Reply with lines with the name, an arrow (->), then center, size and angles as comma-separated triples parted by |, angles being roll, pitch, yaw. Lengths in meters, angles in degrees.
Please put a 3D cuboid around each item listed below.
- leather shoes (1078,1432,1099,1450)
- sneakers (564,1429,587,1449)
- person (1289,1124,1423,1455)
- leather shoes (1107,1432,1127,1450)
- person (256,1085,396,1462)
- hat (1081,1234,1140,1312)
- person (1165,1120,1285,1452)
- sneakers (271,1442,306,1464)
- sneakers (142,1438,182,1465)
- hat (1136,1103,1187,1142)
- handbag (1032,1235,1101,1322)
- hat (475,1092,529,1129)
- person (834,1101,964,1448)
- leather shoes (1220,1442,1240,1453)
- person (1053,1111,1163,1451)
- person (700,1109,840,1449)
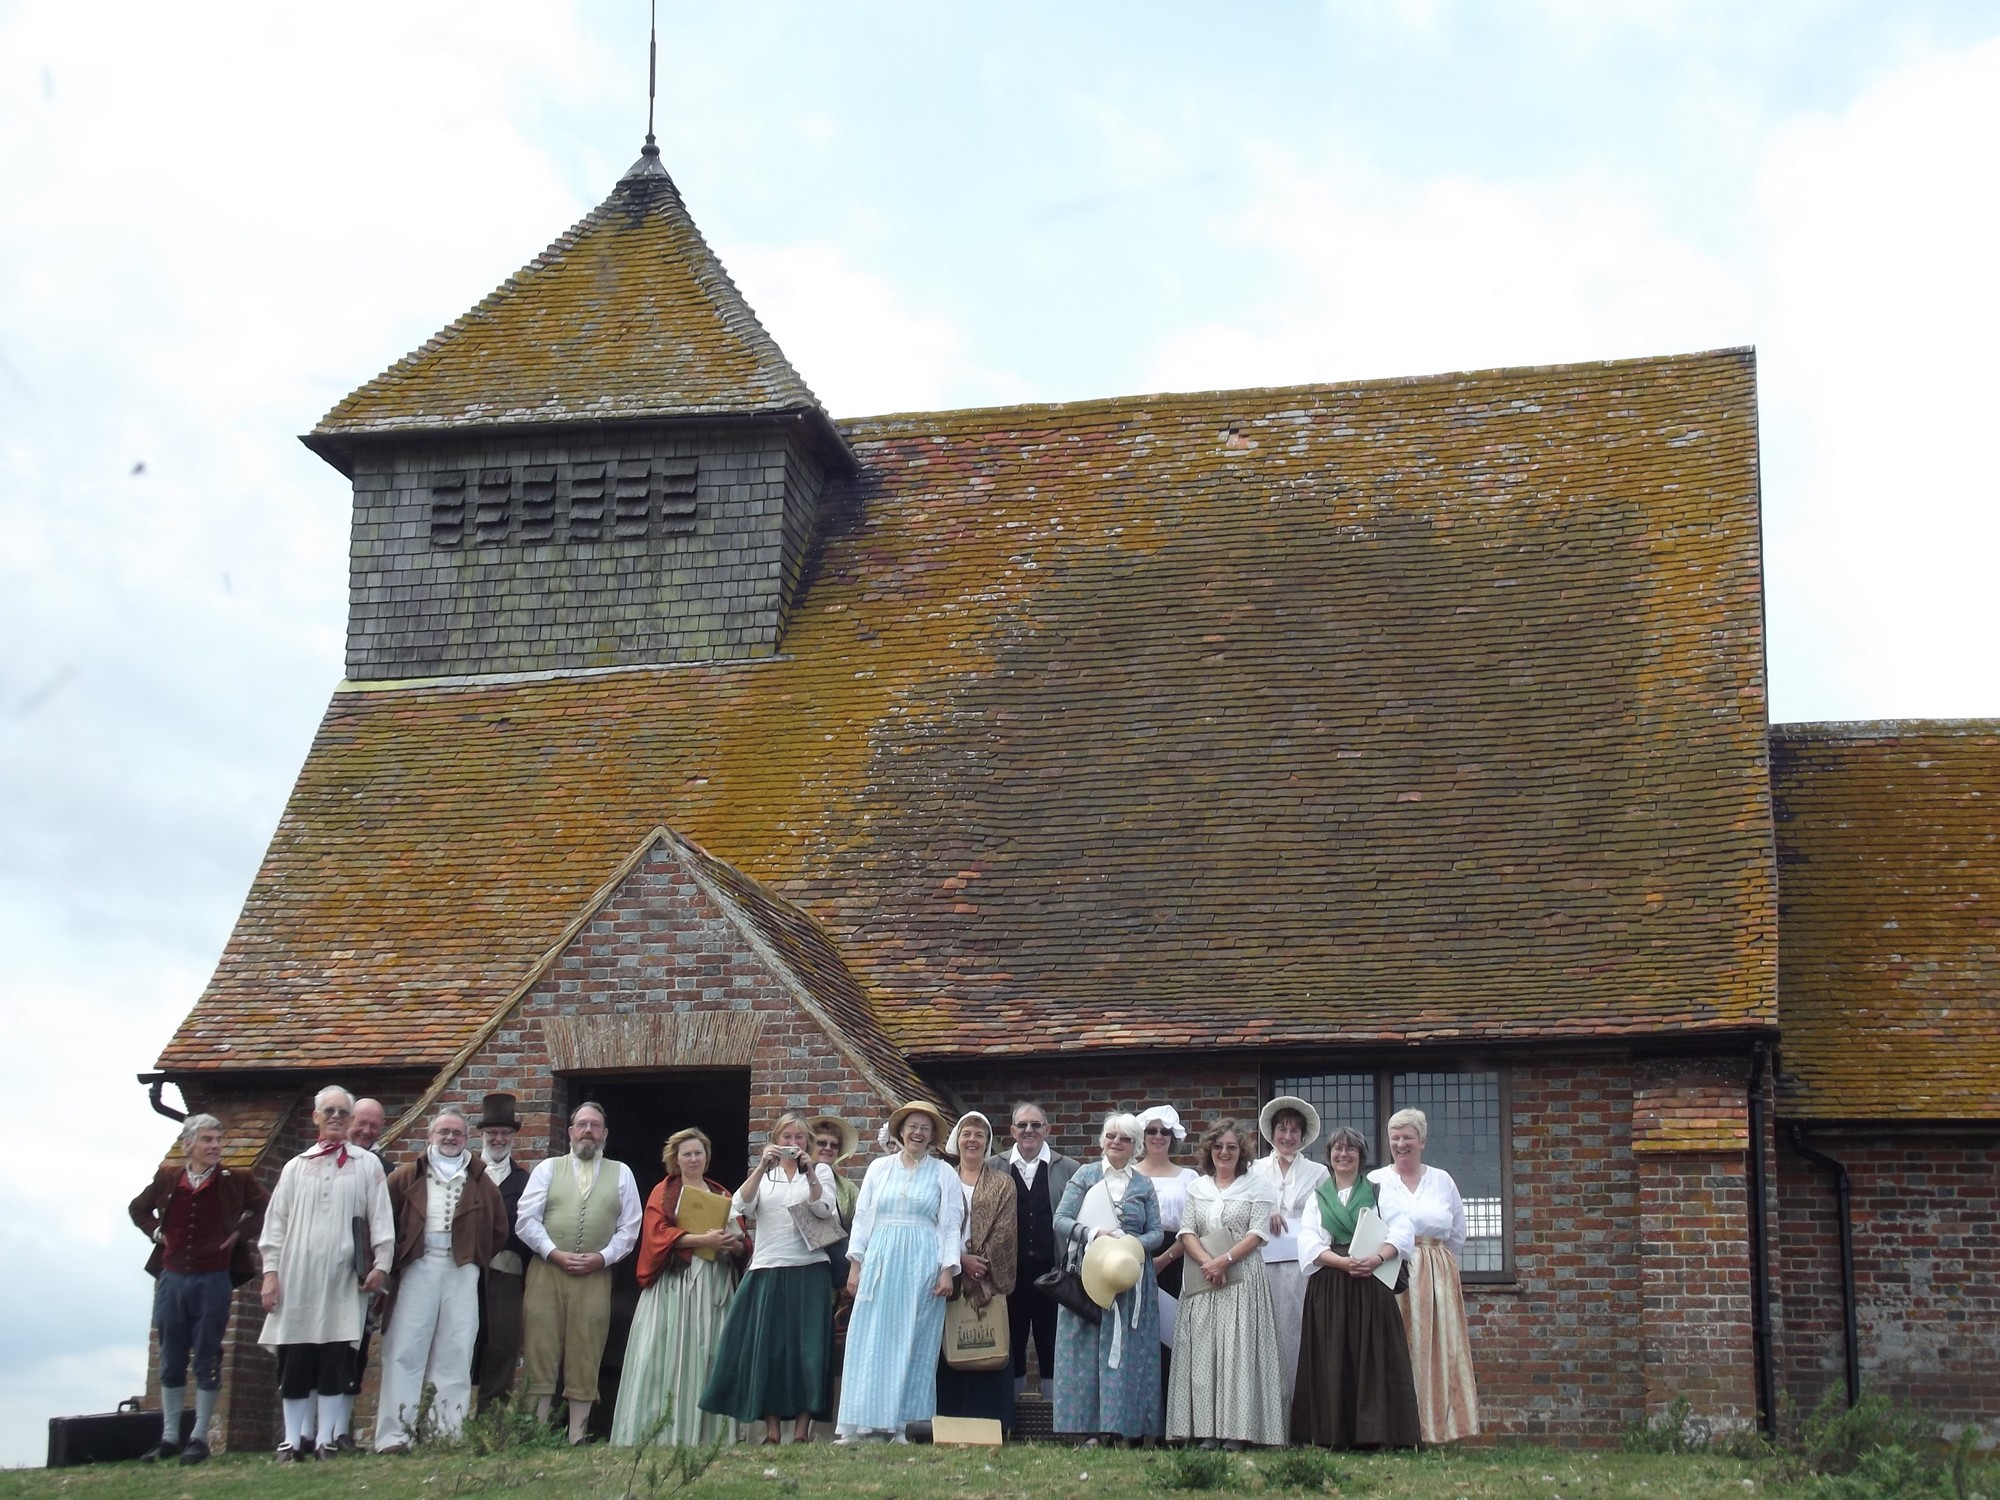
leather shoes -> 0.729, 5.721, 25.182 | 0.228, 0.123, 0.156 | -5, -1, 5
sneakers -> -3.465, 5.646, 24.895 | 0.193, 0.190, 0.344 | -1, -8, -1
person -> 2.915, 4.485, 25.264 | 1.037, 2.573, 0.582 | -1, -21, 6
leather shoes -> 0.961, 5.714, 25.152 | 0.136, 0.111, 0.070 | -5, -5, 13
person -> -5.576, 4.375, 25.249 | 1.098, 3.025, 0.927 | 6, -21, -12
hat -> 0.911, 4.324, 25.105 | 0.558, 0.538, 0.161 | -27, 19, -36
person -> 1.876, 4.473, 25.261 | 0.896, 2.558, 0.576 | 1, -21, 3
sneakers -> -5.761, 5.768, 24.927 | 0.323, 0.135, 0.120 | 11, -16, 7
sneakers -> -7.079, 5.971, 25.868 | 0.403, 0.163, 0.138 | -1, -10, 19
hat -> 1.381, 3.181, 26.071 | 0.402, 0.183, 0.453 | 1, 0, -1
handbag -> 0.612, 4.444, 25.506 | 0.483, 0.610, 0.238 | 8, 10, 34
hat -> -4.359, 3.154, 26.565 | 0.394, 0.251, 0.382 | 2, -24, -6
person -> -0.793, 4.364, 25.300 | 0.981, 2.758, 0.699 | 3, -21, -3
leather shoes -> 1.883, 5.686, 24.859 | 0.144, 0.069, 0.150 | -1, -21, 6
person -> 0.907, 4.433, 25.458 | 0.889, 2.613, 0.823 | 1, -21, 1
person -> -1.816, 4.393, 25.140 | 0.964, 2.580, 0.616 | 3, -21, -4
